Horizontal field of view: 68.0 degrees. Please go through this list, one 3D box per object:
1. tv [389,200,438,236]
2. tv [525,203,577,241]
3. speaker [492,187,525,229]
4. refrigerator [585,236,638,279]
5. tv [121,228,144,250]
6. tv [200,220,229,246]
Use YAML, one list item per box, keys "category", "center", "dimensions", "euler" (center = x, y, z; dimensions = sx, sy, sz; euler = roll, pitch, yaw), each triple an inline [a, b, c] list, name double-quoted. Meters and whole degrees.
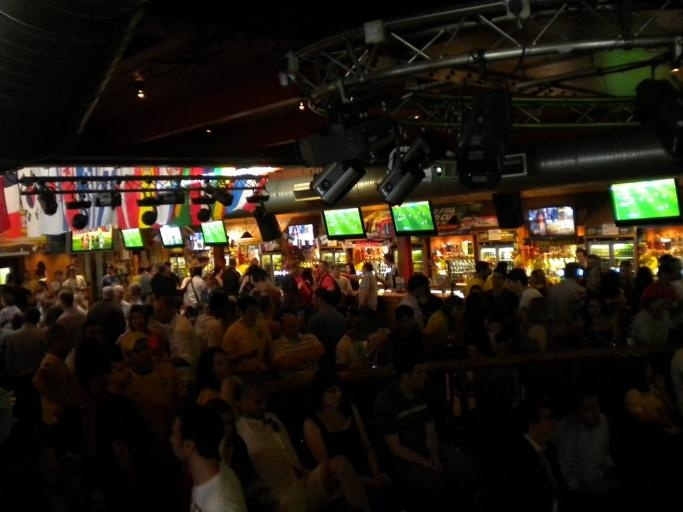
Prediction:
- category: "tv"
  center: [1.319, -0.673, 9.186]
  dimensions: [0.806, 0.729, 0.116]
  euler: [6, 28, 39]
- category: "tv"
  center: [4.807, -0.620, 11.398]
  dimensions: [0.570, 0.797, 1.067]
  euler: [5, -6, -43]
- category: "speaker"
  center: [2.906, -0.832, 8.737]
  dimensions: [0.494, 0.956, 0.544]
  euler: [-9, 21, 15]
- category: "refrigerator"
  center: [5.643, 0.226, 10.668]
  dimensions: [1.190, 1.210, 0.655]
  euler: [1, 2, 40]
- category: "tv"
  center: [-7.140, -0.556, 17.341]
  dimensions: [0.787, 0.787, 0.218]
  euler: [0, 4, 25]
- category: "tv"
  center: [-3.852, -0.685, 15.404]
  dimensions: [0.825, 0.646, 0.113]
  euler: [3, 11, 34]
